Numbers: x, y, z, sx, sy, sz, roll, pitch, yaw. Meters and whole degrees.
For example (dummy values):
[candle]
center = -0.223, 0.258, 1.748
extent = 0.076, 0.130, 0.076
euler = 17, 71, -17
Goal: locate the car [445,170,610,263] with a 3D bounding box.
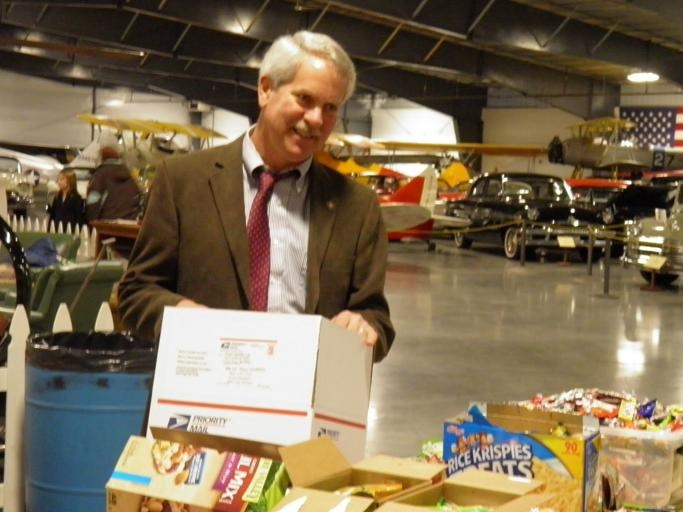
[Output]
[car]
center = 3.201, -0.727, 11.095
extent = 1.379, 1.070, 2.429
euler = 3, 2, -21

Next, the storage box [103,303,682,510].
[storage box]
center = -0.063, 0.249, 1.607
extent = 0.856, 0.469, 0.563
euler = 8, -5, 25

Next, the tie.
[tie]
center = -0.208, -0.050, 1.714
extent = 0.100, 0.383, 0.167
euler = 3, 7, 20

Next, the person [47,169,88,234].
[person]
center = -3.263, -0.686, 7.191
extent = 0.360, 0.694, 0.837
euler = -3, 8, -31

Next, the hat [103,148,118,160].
[hat]
center = -2.718, -1.191, 7.060
extent = 0.130, 0.081, 0.139
euler = -7, 12, -30
